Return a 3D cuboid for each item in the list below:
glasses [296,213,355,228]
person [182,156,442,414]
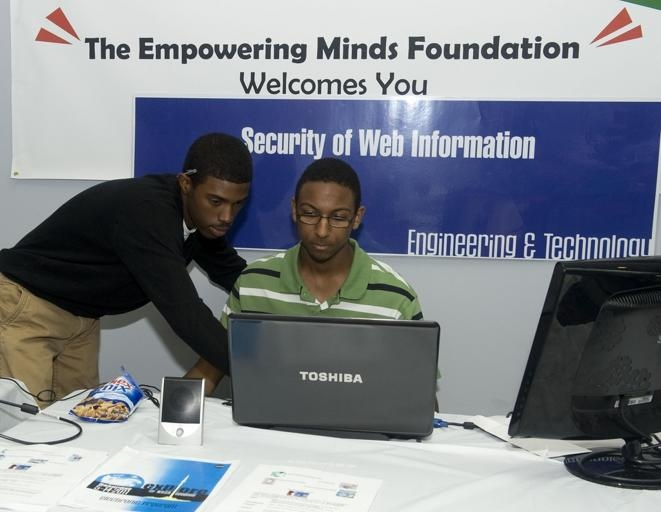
[{"bbox_3d":[-0.022,-0.121,2.112,0.174,0.049,0.050,-2,11,-5],"label":"glasses"},{"bbox_3d":[-0.041,0.077,2.150,0.971,0.881,0.331,2,10,4],"label":"person"}]
